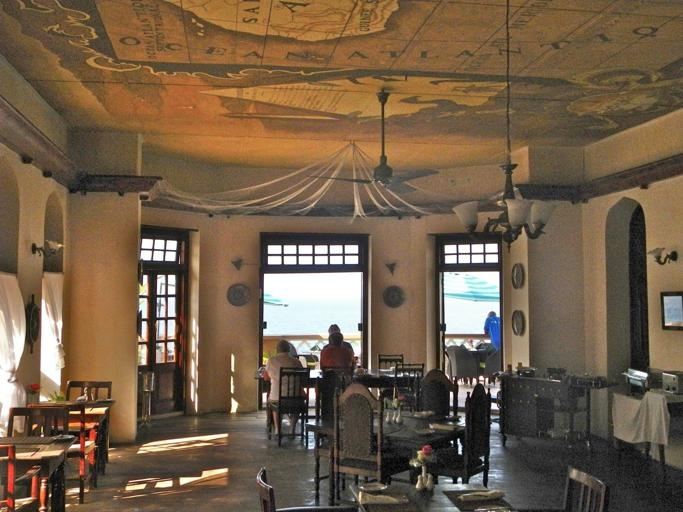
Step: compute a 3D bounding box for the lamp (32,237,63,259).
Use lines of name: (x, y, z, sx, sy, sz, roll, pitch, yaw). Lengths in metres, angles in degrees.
lamp: (-4.175, -0.098, 9.398, 0.258, 0.189, 0.360, 0, -2, -6)

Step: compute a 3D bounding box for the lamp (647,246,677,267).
lamp: (4.582, 0.007, 9.497, 0.256, 0.289, 0.295, -13, -3, -11)

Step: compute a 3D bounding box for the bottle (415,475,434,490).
bottle: (0.755, 2.066, 6.133, 0.173, 0.133, 0.148, 2, 3, 24)

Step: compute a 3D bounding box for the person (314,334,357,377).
person: (-0.098, 1.717, 11.055, 0.654, 1.022, 0.624, -8, -15, 30)

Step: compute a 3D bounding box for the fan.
fan: (0.537, -1.631, 9.074, 1.099, 1.418, 1.551, -6, 7, -40)
